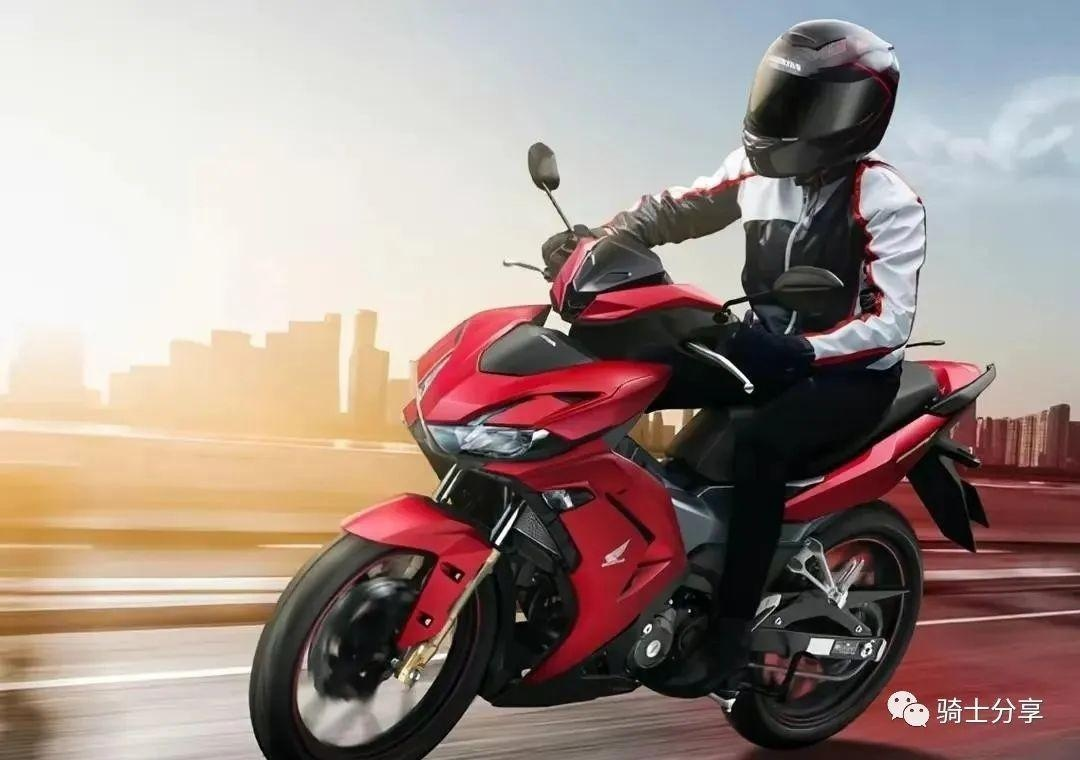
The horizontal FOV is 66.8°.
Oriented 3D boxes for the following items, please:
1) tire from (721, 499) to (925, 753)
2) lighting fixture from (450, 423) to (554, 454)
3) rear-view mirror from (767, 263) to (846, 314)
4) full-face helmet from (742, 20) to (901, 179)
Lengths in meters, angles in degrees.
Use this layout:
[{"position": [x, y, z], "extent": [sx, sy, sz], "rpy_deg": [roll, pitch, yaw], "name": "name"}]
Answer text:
[{"position": [1.129, 1.006, 3.369], "extent": [1.093, 1.046, 0.215], "rpy_deg": [28, 6, -33], "name": "tire"}, {"position": [-0.132, 0.205, 2.728], "extent": [0.347, 0.089, 0.115], "rpy_deg": [1, 8, 10], "name": "lighting fixture"}, {"position": [0.860, -0.310, 2.699], "extent": [0.236, 0.169, 0.082], "rpy_deg": [-10, 14, 8], "name": "rear-view mirror"}, {"position": [1.124, -1.205, 3.392], "extent": [0.730, 0.501, 0.541], "rpy_deg": [-26, 42, -17], "name": "full-face helmet"}]
